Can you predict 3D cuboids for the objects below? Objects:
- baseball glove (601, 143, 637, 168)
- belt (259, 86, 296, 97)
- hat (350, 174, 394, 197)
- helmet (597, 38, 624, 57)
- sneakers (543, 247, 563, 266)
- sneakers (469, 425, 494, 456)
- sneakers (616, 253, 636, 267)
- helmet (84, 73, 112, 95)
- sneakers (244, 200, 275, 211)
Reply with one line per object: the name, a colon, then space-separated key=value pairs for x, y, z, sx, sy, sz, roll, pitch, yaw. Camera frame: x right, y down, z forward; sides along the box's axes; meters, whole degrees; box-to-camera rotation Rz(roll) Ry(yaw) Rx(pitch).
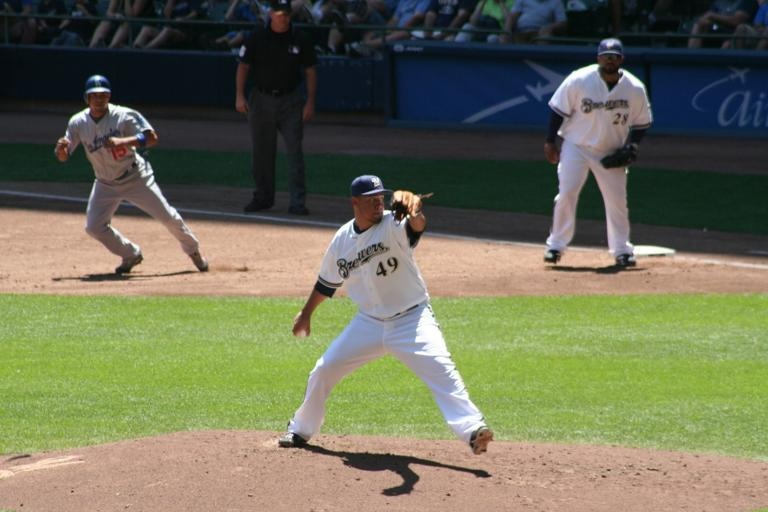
baseball glove: x=3.184 y=-1.336 z=18.830 sx=0.317 sy=0.117 sz=0.414 roll=-20 pitch=-12 yaw=-20
belt: x=-1.661 y=-2.524 z=21.550 sx=0.548 sy=0.117 sz=0.102 roll=0 pitch=10 yaw=1
hat: x=-0.213 y=-0.746 z=14.809 sx=0.410 sy=0.170 sz=0.276 roll=-1 pitch=3 yaw=27
helmet: x=3.034 y=-2.849 z=18.815 sx=0.422 sy=0.248 sz=0.526 roll=1 pitch=-7 yaw=6
sneakers: x=2.299 y=0.005 z=19.421 sx=0.196 sy=0.227 sz=0.240 roll=2 pitch=36 yaw=-27
sneakers: x=0.983 y=1.904 z=14.359 sx=0.174 sy=0.337 sz=0.175 roll=4 pitch=23 yaw=-36
sneakers: x=3.320 y=0.068 z=19.214 sx=0.251 sy=0.144 sz=0.150 roll=3 pitch=12 yaw=13
helmet: x=-3.841 y=-2.281 z=18.633 sx=0.299 sy=0.236 sz=0.375 roll=-1 pitch=9 yaw=-7
sneakers: x=-2.005 y=-0.807 z=22.214 sx=0.479 sy=0.170 sz=0.173 roll=-1 pitch=13 yaw=-1
